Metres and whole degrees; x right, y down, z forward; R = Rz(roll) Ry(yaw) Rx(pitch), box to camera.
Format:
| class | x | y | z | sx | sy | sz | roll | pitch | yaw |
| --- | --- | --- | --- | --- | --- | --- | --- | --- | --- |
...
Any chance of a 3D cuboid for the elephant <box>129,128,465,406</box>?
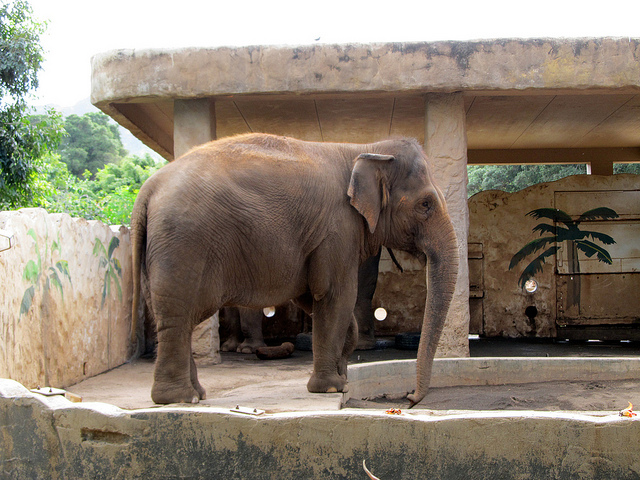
| class | x | y | z | sx | sy | sz | roll | pitch | yaw |
| --- | --- | --- | --- | --- | --- | --- | --- | --- | --- |
| elephant | -0.181 | 0.227 | 8.621 | 2.907 | 2.540 | 1.272 | 0 | 4 | -15 |
